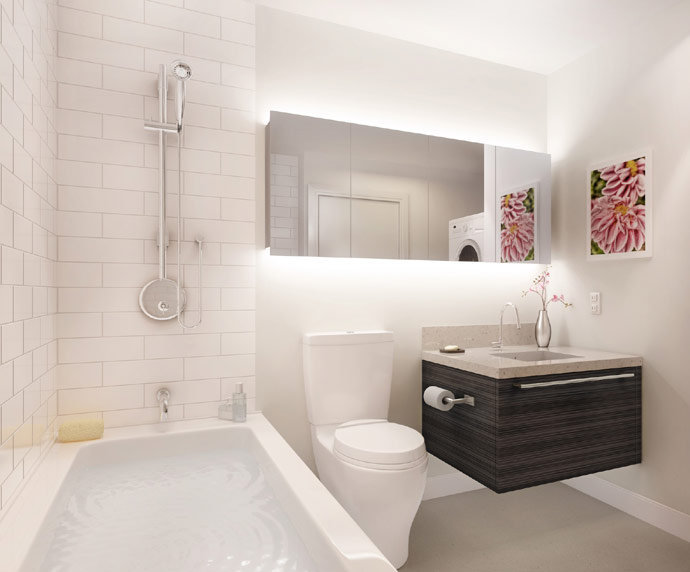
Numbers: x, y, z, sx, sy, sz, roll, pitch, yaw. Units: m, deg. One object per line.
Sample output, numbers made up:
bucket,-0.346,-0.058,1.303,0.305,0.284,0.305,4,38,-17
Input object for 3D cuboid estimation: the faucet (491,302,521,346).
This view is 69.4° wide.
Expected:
faucet,1.090,0.245,3.329,0.153,0.325,0.429,1,7,20

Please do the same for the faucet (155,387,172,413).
faucet,-0.939,0.596,2.566,0.070,0.133,0.101,-3,7,-14

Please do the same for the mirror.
mirror,0.435,-0.561,3.053,1.840,0.913,0.205,-4,7,-19

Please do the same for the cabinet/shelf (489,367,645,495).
cabinet/shelf,1.201,0.746,2.999,0.946,0.625,0.657,-5,4,-18

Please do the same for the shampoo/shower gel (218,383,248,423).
shampoo/shower gel,-0.584,0.617,2.701,0.190,0.235,0.142,-1,-2,10

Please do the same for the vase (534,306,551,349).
vase,1.329,0.290,3.350,0.086,0.249,0.110,1,7,20
